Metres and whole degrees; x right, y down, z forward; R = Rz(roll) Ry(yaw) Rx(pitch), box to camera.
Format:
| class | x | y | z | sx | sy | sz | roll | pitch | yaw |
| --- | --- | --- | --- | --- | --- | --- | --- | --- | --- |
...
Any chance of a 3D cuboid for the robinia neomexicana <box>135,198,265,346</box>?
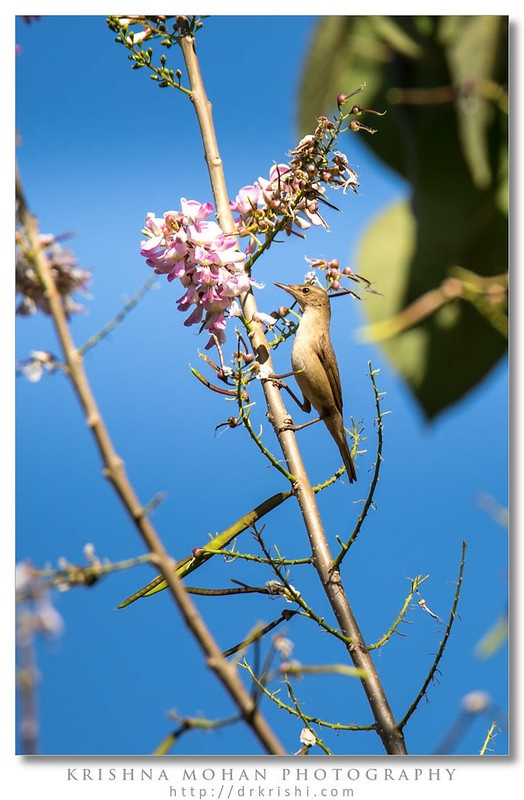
| class | x | y | z | sx | sy | sz | roll | pitch | yaw |
| --- | --- | --- | --- | --- | --- | --- | --- | --- | --- |
| robinia neomexicana | -0.133 | -0.258 | 2.300 | 0.196 | 0.296 | 0.128 | -14 | 2 | -4 |

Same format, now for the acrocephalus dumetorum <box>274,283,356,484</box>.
| class | x | y | z | sx | sy | sz | roll | pitch | yaw |
| --- | --- | --- | --- | --- | --- | --- | --- | --- | --- |
| acrocephalus dumetorum | 0.138 | -0.064 | 2.752 | 0.127 | 0.468 | 0.368 | -14 | 2 | 5 |
